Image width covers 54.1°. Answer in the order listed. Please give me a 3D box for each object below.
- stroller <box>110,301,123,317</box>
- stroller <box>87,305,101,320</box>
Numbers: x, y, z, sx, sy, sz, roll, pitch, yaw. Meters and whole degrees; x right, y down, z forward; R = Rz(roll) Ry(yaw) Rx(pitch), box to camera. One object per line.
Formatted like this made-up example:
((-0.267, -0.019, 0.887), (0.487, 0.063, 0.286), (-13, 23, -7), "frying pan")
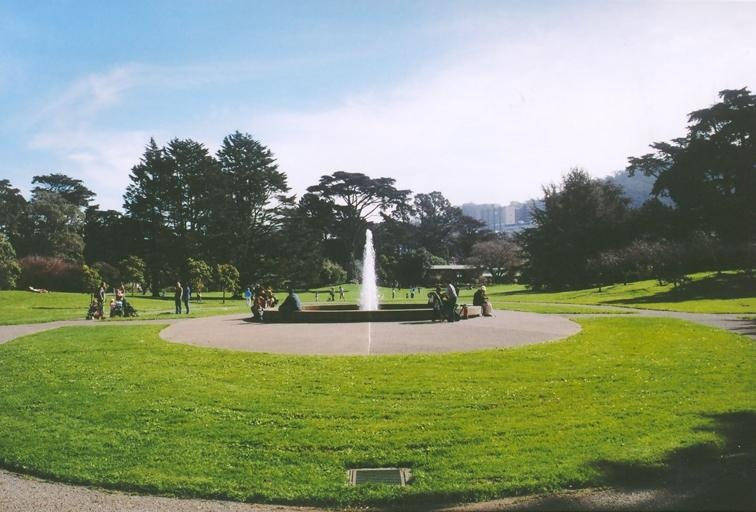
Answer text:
((-14.864, 3.093, 42.173), (0.666, 0.915, 0.397), (-1, -12, -21), "stroller")
((-15.317, 3.135, 39.918), (0.616, 0.818, 0.830), (2, -8, -13), "stroller")
